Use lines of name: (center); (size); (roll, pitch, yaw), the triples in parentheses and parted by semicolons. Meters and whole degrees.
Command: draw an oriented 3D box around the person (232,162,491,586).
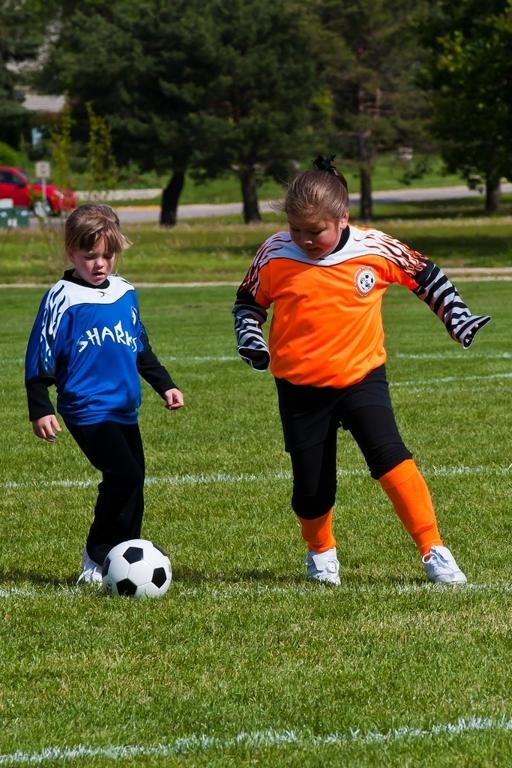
person: (0.318, -0.021, 3.312); (0.752, 1.403, 0.390); (-4, 9, -2)

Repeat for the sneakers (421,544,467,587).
sneakers: (0.602, 0.586, 3.308); (0.088, 0.075, 0.170); (0, -2, -16)

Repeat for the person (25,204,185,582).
person: (-0.550, 0.058, 3.337); (0.300, 1.272, 0.413); (-1, 9, 13)

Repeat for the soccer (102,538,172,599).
soccer: (-0.384, 0.593, 3.284); (0.197, 0.173, 0.175); (4, -12, -13)
